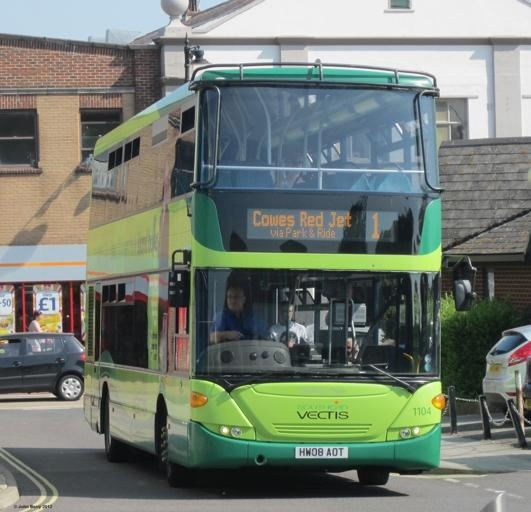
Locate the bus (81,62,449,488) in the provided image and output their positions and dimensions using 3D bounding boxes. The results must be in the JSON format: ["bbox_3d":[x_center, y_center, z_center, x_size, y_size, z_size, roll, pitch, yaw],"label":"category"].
[{"bbox_3d":[-0.449,0.257,14.837,5.025,4.821,2.486,-4,-4,45],"label":"bus"}]

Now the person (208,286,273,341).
[{"bbox_3d":[-0.280,0.772,13.566,0.680,0.833,0.424,-1,-7,3],"label":"person"}]
